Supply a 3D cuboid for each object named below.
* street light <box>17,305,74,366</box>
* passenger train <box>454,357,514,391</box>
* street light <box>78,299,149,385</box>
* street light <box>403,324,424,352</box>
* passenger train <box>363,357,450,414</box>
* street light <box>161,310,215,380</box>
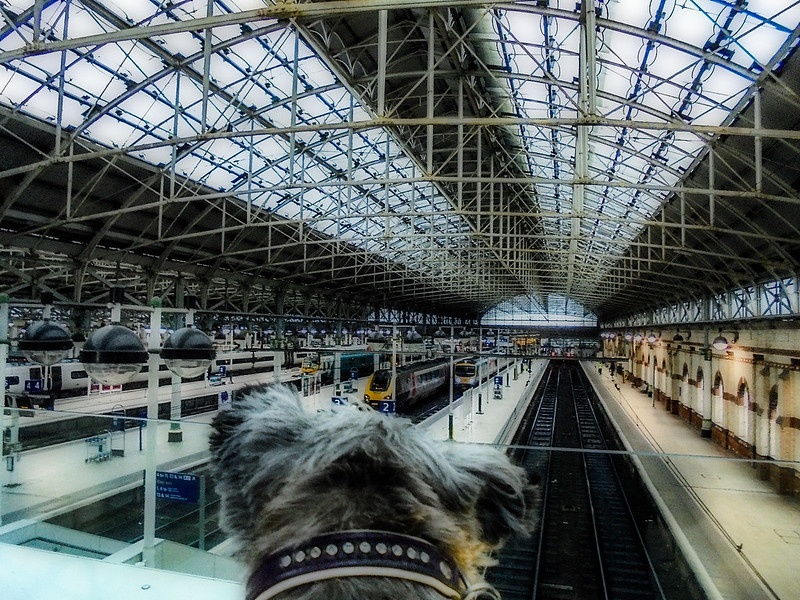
[{"bbox_3d":[-4.852,0.571,7.416,0.580,0.586,0.652,1,-5,-33],"label":"street light"},{"bbox_3d":[4.953,5.095,36.623,2.571,1.824,8.968,-2,-4,18],"label":"passenger train"},{"bbox_3d":[-3.383,0.614,6.403,0.775,0.704,0.721,-2,-6,14],"label":"street light"},{"bbox_3d":[0.707,2.047,28.411,1.544,1.412,1.378,5,-8,-3],"label":"street light"},{"bbox_3d":[1.776,5.182,33.871,2.191,2.470,15.390,-2,-4,19],"label":"passenger train"},{"bbox_3d":[-2.706,0.668,6.893,0.612,0.648,0.486,0,-5,-22],"label":"street light"}]
